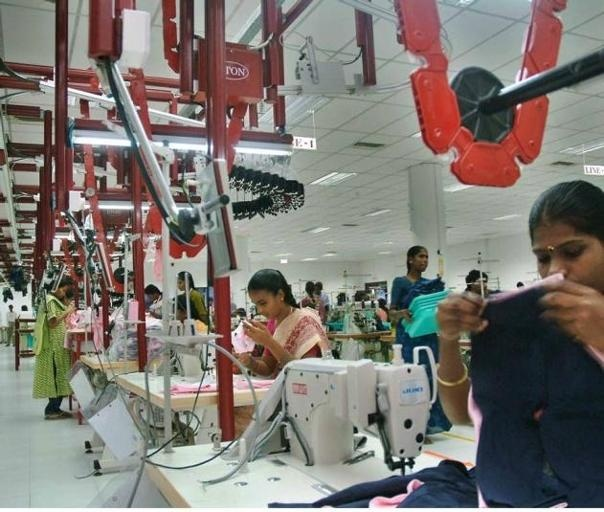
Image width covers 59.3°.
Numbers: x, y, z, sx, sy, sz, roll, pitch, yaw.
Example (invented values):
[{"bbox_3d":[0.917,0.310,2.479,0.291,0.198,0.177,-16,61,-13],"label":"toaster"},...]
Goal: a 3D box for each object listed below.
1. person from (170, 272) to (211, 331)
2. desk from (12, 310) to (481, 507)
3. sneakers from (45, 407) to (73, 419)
[{"bbox_3d":[-1.032,0.521,5.019,0.291,0.747,0.317,7,13,41],"label":"person"},{"bbox_3d":[-0.444,0.687,2.398,1.118,0.368,1.579,7,-12,-27],"label":"desk"},{"bbox_3d":[-2.830,1.822,6.104,0.339,0.132,0.122,1,1,-19],"label":"sneakers"}]
